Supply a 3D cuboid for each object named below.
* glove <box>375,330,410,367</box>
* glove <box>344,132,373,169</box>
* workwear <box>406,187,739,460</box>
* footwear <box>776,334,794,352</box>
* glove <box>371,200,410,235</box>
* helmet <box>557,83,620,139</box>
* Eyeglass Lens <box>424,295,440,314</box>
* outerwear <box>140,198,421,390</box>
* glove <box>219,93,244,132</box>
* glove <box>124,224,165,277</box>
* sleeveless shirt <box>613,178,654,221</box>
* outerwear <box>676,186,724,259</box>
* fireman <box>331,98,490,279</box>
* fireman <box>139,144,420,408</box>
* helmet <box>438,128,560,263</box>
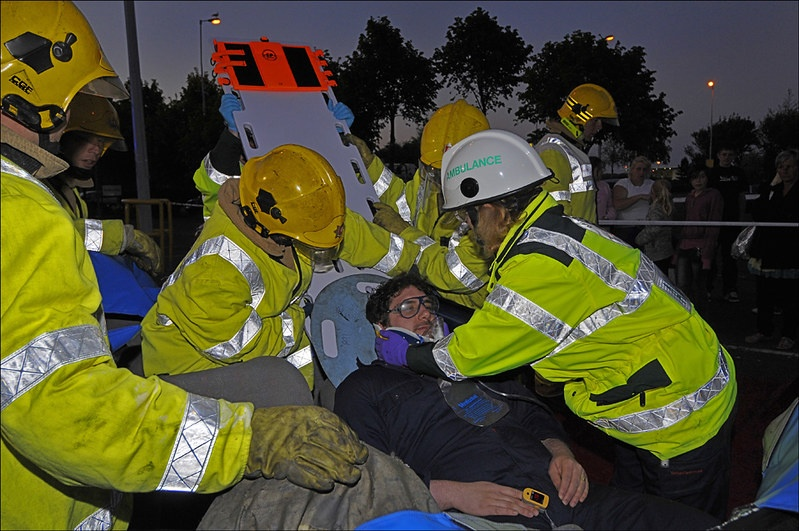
[{"bbox_3d":[-0.050,0.522,4.165,0.191,0.093,0.254,32,-6,-14],"label":"glove"},{"bbox_3d":[-0.360,-1.078,5.985,0.198,0.292,0.226,-12,22,42],"label":"glove"},{"bbox_3d":[0.944,0.315,3.894,1.837,1.312,1.406,2,11,27],"label":"workwear"},{"bbox_3d":[4.487,0.908,7.593,0.267,0.102,0.105,-6,5,-38],"label":"footwear"},{"bbox_3d":[-0.093,-0.390,5.346,0.327,0.097,0.190,28,39,13],"label":"glove"},{"bbox_3d":[1.736,-1.451,6.037,0.648,0.563,0.482,-3,33,5],"label":"helmet"},{"bbox_3d":[0.222,0.267,4.507,0.114,0.049,0.113,27,-40,-34],"label":"Eyeglass Lens"},{"bbox_3d":[-0.704,0.068,4.648,1.343,0.899,2.219,28,24,38],"label":"outerwear"},{"bbox_3d":[-1.352,-1.240,5.248,0.217,0.285,0.101,-17,12,-38],"label":"glove"},{"bbox_3d":[-2.192,-0.083,5.564,0.193,0.607,0.272,27,25,35],"label":"glove"},{"bbox_3d":[3.478,-0.958,9.663,0.680,0.626,0.376,-2,-8,2],"label":"sleeveless shirt"},{"bbox_3d":[4.296,-0.615,9.236,0.678,1.134,0.315,8,-13,43],"label":"outerwear"},{"bbox_3d":[0.007,-1.079,6.860,1.350,0.891,1.711,3,12,-16],"label":"fireman"},{"bbox_3d":[-0.726,0.402,4.617,1.827,2.380,1.226,-11,31,-23],"label":"fireman"},{"bbox_3d":[0.527,-0.467,3.897,0.736,0.778,0.617,-10,13,29],"label":"helmet"}]
